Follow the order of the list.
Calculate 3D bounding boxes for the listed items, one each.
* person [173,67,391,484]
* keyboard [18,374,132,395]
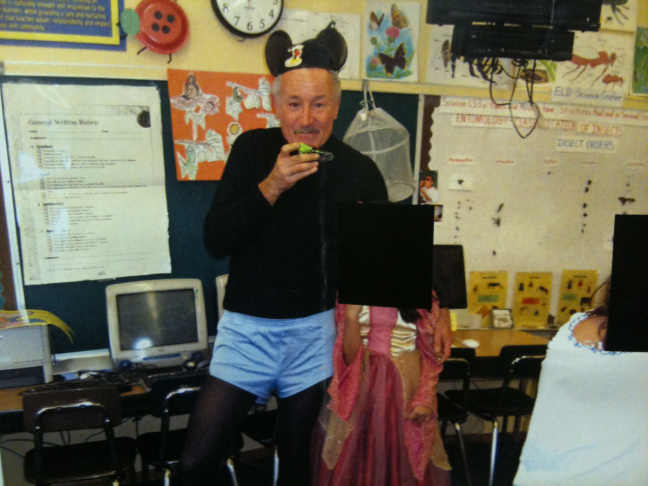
[{"bbox_3d":[-0.116,0.117,1.745,0.586,1.171,0.251,0,6,8],"label":"person"},{"bbox_3d":[-0.914,0.540,2.376,0.226,0.051,0.131,-1,-1,-2],"label":"keyboard"}]
